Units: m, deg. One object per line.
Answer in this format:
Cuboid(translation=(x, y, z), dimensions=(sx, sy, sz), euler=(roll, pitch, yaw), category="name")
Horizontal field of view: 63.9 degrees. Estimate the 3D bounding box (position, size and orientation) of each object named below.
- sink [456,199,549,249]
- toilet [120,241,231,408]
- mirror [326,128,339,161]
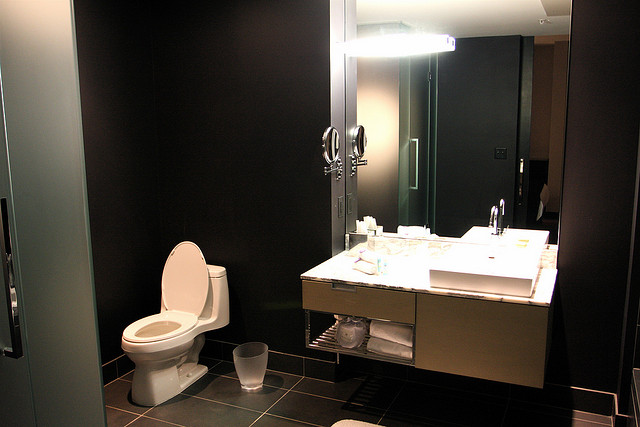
Cuboid(translation=(1.212, 0.067, 3.408), dimensions=(0.565, 0.306, 0.089), euler=(3, 14, 28), category="sink")
Cuboid(translation=(-1.059, 0.766, 3.662), dimensions=(0.553, 0.953, 0.821), euler=(1, 5, 17), category="toilet")
Cuboid(translation=(0.077, -0.475, 3.538), dimensions=(0.028, 0.258, 0.182), euler=(8, 14, 31), category="mirror")
